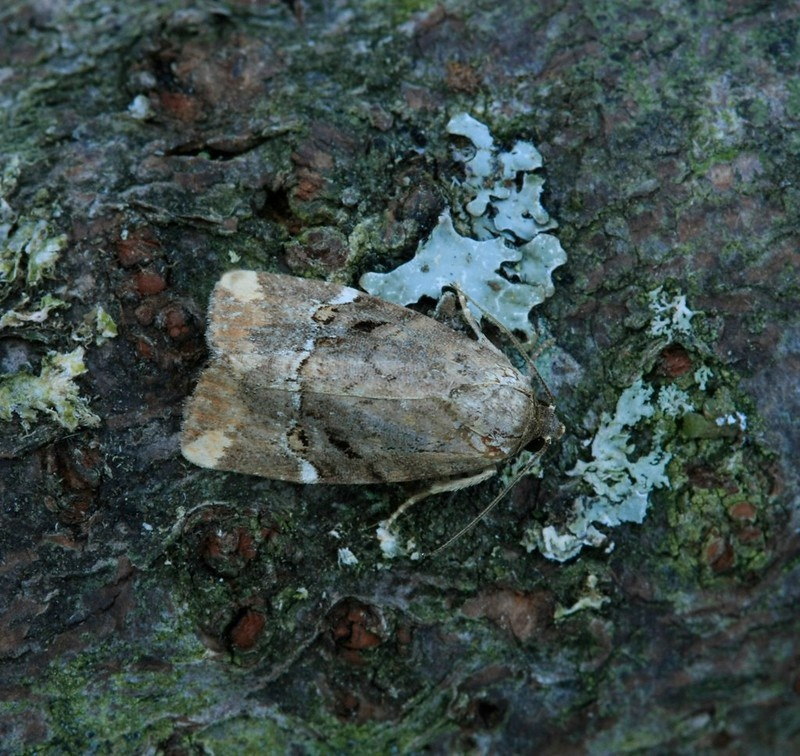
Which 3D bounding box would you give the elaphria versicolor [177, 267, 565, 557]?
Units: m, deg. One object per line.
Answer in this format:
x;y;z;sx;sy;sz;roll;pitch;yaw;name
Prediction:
-0.147;0.066;5.529;1.974;0.531;1.126;9;96;-3;elaphria versicolor
